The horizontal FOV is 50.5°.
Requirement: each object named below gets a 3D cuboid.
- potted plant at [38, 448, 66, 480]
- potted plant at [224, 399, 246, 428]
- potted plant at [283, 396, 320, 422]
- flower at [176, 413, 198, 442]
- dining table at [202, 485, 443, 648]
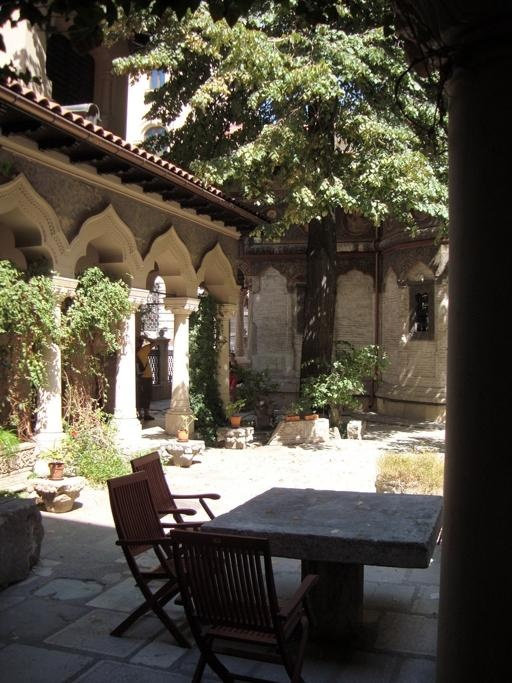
[{"bbox_3d":[-2.565,1.510,6.838,0.419,0.418,0.423,0,-4,-4],"label":"potted plant"},{"bbox_3d":[-0.472,1.566,11.920,0.591,0.751,0.520,1,-9,-1],"label":"potted plant"},{"bbox_3d":[0.986,1.534,12.162,0.787,0.499,0.687,-1,0,1],"label":"potted plant"},{"bbox_3d":[-1.331,1.599,10.203,0.430,0.535,0.415,3,-4,-4],"label":"flower"},{"bbox_3d":[0.421,1.145,3.381,1.363,0.807,1.237,0,3,23],"label":"dining table"}]
